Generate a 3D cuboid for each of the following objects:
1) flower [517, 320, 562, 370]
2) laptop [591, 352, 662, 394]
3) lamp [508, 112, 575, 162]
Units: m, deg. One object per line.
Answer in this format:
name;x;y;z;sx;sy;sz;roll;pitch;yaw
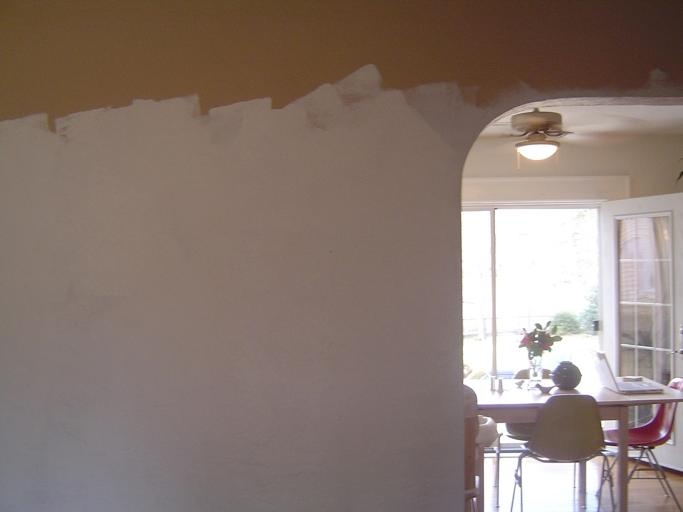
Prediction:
flower;1.283;0.520;4.849;0.230;0.184;0.210;-16;-6;-4
laptop;1.841;0.740;4.926;0.381;0.211;0.520;-3;-1;19
lamp;1.358;-0.839;5.372;0.369;0.290;0.370;1;-12;0
